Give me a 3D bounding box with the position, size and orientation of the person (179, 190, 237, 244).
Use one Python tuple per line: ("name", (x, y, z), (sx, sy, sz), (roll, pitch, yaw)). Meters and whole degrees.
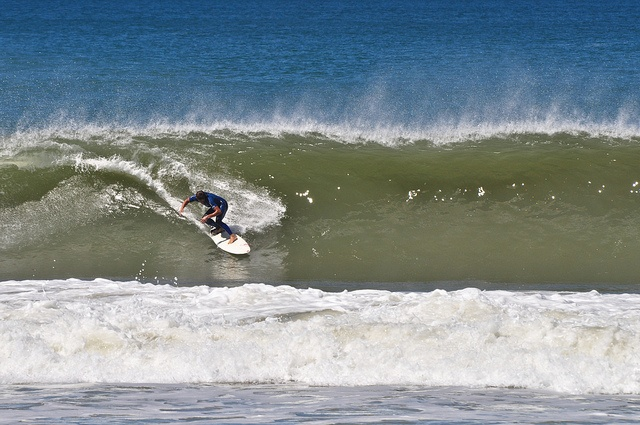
("person", (-3.150, 0.050, 24.273), (1.453, 1.577, 1.039), (7, 33, 29))
